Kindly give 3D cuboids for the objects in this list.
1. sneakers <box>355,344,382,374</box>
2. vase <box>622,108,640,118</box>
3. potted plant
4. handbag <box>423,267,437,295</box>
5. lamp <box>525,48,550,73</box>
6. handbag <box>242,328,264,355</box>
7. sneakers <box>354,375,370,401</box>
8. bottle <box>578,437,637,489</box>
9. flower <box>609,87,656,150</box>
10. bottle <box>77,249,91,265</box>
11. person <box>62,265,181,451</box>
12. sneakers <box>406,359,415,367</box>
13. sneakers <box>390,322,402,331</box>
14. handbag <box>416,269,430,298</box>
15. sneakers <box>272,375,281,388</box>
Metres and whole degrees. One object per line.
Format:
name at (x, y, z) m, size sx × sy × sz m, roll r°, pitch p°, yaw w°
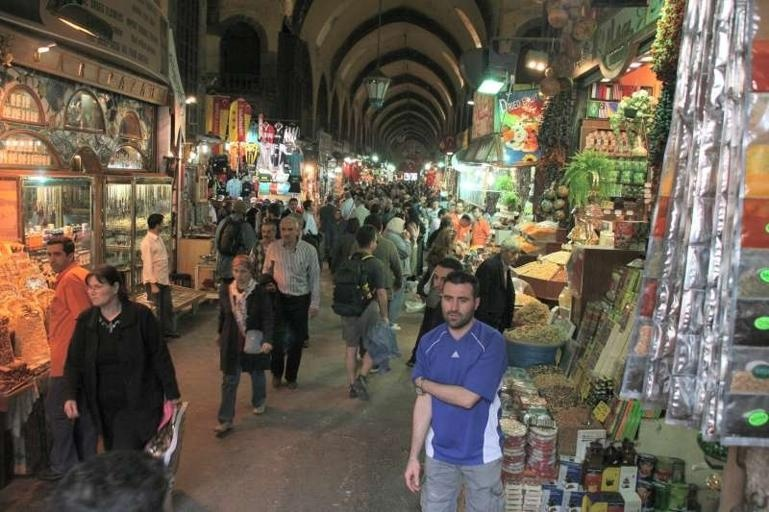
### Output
sneakers at (-0.191, 1.246, 7.140) m, size 0.219 × 0.294 × 0.656 m, roll 1°, pitch -2°, yaw 4°
vase at (2.892, -1.670, 6.941) m, size 0.109 × 0.083 × 0.110 m, roll 3°, pitch 1°, yaw -4°
potted plant at (2.865, -0.845, 8.378) m, size 0.647 × 1.293 × 2.097 m, roll 5°, pitch 10°, yaw 17°
handbag at (0.605, 0.357, 7.948) m, size 0.224 × 0.312 × 0.102 m, roll 10°, pitch 0°, yaw 33°
lamp at (2.830, -3.641, 10.903) m, size 0.349 × 0.407 × 0.957 m, roll 4°, pitch 10°, yaw 9°
handbag at (-1.324, 0.853, 5.934) m, size 0.088 × 0.253 × 0.252 m, roll 0°, pitch -1°, yaw 35°
sneakers at (-0.208, 1.519, 6.871) m, size 0.134 × 0.300 × 0.219 m, roll -5°, pitch 12°, yaw 21°
bottle at (1.784, 1.634, 4.684) m, size 0.441 × 0.392 × 0.186 m, roll 1°, pitch 9°, yaw -4°
flower at (2.952, -1.636, 7.070) m, size 0.449 × 0.705 × 1.177 m, roll 5°, pitch 10°, yaw 19°
bottle at (-3.979, 0.023, 7.808) m, size 0.149 × 0.153 × 0.094 m, roll 4°, pitch 2°, yaw -11°
person at (-2.053, 0.899, 4.623) m, size 0.794 × 1.320 × 0.372 m, roll 3°, pitch 9°, yaw 6°
sneakers at (0.354, 1.460, 8.001) m, size 0.139 × 0.135 × 0.068 m, roll 5°, pitch -2°, yaw 41°
sneakers at (0.183, 1.171, 9.877) m, size 0.105 × 0.126 × 0.312 m, roll 11°, pitch -2°, yaw 22°
handbag at (0.485, 0.377, 8.172) m, size 0.125 × 0.331 × 0.241 m, roll 10°, pitch 3°, yaw 17°
sneakers at (-1.308, 1.530, 7.182) m, size 0.142 × 0.140 × 0.086 m, roll 2°, pitch 1°, yaw -8°
